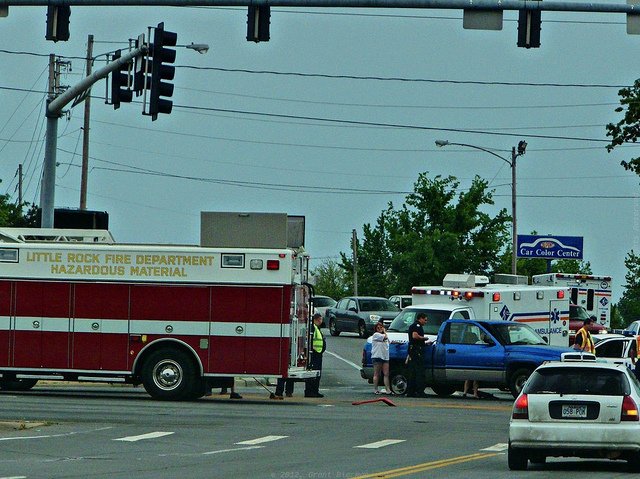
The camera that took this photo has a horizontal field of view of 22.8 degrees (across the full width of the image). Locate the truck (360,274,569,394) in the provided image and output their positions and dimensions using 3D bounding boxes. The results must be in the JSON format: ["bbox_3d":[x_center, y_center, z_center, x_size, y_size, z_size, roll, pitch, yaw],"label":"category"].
[{"bbox_3d":[4.195,2.567,41.821,4.902,3.174,2.868,3,-3,-28],"label":"truck"}]

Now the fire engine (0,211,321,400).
[{"bbox_3d":[-5.032,1.668,38.757,10.041,4.922,3.442,-1,-1,10],"label":"fire engine"}]

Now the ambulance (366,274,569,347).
[{"bbox_3d":[4.478,2.415,42.907,4.494,2.419,2.127,0,-9,-29],"label":"ambulance"}]

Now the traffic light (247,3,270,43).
[{"bbox_3d":[-1.270,-4.378,32.458,0.417,0.687,0.123,1,-5,10],"label":"traffic light"}]

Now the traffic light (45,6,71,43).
[{"bbox_3d":[-5.406,-4.420,32.801,0.451,0.782,0.276,3,-5,-14],"label":"traffic light"}]

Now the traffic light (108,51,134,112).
[{"bbox_3d":[-4.642,-3.602,36.809,0.581,1.379,0.502,0,-8,12],"label":"traffic light"}]

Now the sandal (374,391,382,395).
[{"bbox_3d":[1.433,3.892,39.630,0.094,0.137,0.294,0,-7,8],"label":"sandal"}]

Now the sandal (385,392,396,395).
[{"bbox_3d":[1.731,3.874,39.411,0.191,0.068,0.082,3,-6,-9],"label":"sandal"}]

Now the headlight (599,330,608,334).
[{"bbox_3d":[8.647,2.912,48.817,0.248,0.070,0.274,1,-1,-30],"label":"headlight"}]
